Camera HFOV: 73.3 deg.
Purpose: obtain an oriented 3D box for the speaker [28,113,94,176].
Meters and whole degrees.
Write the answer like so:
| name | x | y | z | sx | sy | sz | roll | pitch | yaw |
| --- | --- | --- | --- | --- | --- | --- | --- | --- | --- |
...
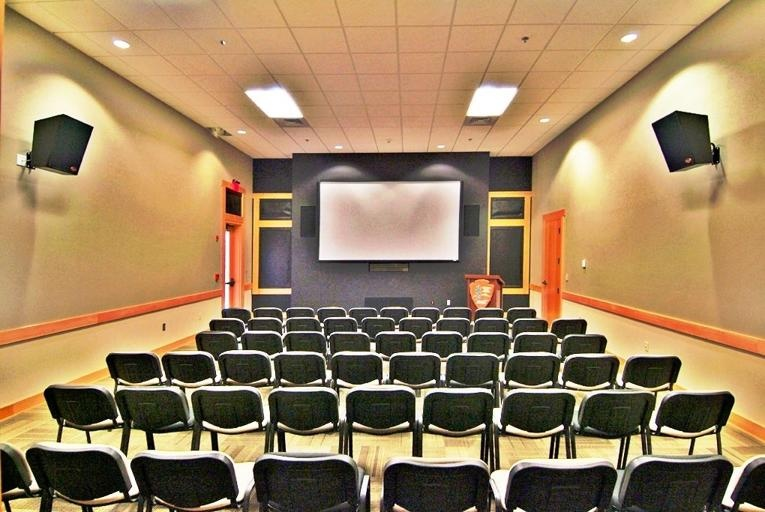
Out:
| name | x | y | z | sx | sy | sz | roll | pitch | yaw |
| --- | --- | --- | --- | --- | --- | --- | --- | --- | --- |
| speaker | -4.168 | -1.425 | 6.621 | 0.540 | 0.479 | 0.412 | 2 | 0 | 10 |
